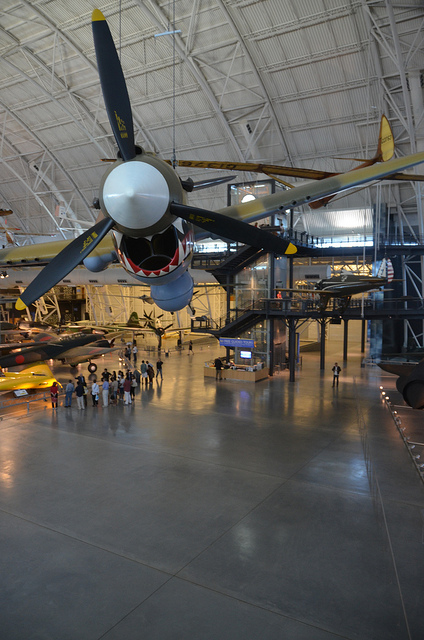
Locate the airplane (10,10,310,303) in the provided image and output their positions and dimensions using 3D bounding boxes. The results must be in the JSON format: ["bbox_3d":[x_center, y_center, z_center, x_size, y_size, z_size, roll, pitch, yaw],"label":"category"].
[{"bbox_3d":[-1.349,-2.925,8.335,4.226,4.688,3.212,-7,8,28],"label":"airplane"}]

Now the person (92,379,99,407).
[{"bbox_3d":[-4.771,3.001,19.407,0.195,1.016,0.764,-2,3,-14],"label":"person"}]

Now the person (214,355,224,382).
[{"bbox_3d":[0.388,2.693,25.942,0.518,1.072,1.204,-1,3,1],"label":"person"}]

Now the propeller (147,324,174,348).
[{"bbox_3d":[-4.625,1.471,42.232,2.083,1.632,0.330,3,-27,-9],"label":"propeller"}]

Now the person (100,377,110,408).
[{"bbox_3d":[-4.462,3.031,19.877,0.313,0.918,1.538,-2,3,-12],"label":"person"}]

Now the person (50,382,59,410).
[{"bbox_3d":[-6.277,3.068,19.047,0.258,0.950,0.862,-2,3,-18],"label":"person"}]
